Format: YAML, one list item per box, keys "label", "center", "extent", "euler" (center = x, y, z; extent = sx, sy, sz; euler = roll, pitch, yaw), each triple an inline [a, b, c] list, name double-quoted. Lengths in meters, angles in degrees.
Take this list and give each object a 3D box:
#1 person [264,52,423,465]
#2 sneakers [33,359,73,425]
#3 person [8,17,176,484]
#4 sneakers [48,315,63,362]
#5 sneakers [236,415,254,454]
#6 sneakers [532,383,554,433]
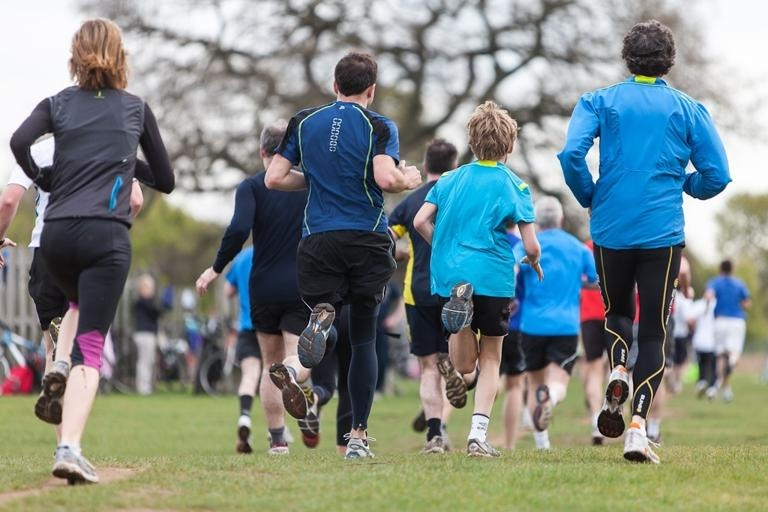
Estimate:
- label: "person"
  center: [-0.542, -0.044, 12.333]
  extent: [1.326, 4.217, 0.996]
  euler: [6, -10, -12]
- label: "sneakers"
  center: [-3.347, 1.346, 11.692]
  extent: [0.278, 0.677, 0.289]
  euler: [13, 8, -1]
- label: "person"
  center: [-2.954, -0.087, 11.449]
  extent: [1.409, 4.580, 0.539]
  euler: [6, -10, -12]
- label: "sneakers"
  center: [-3.458, 0.812, 12.072]
  extent: [0.150, 0.546, 0.204]
  euler: [3, 11, 2]
- label: "sneakers"
  center: [-1.796, 2.273, 14.832]
  extent: [0.169, 0.482, 0.206]
  euler: [1, -1, -1]
- label: "sneakers"
  center: [1.998, 1.907, 14.507]
  extent: [0.202, 0.617, 0.255]
  euler: [3, -7, 19]
